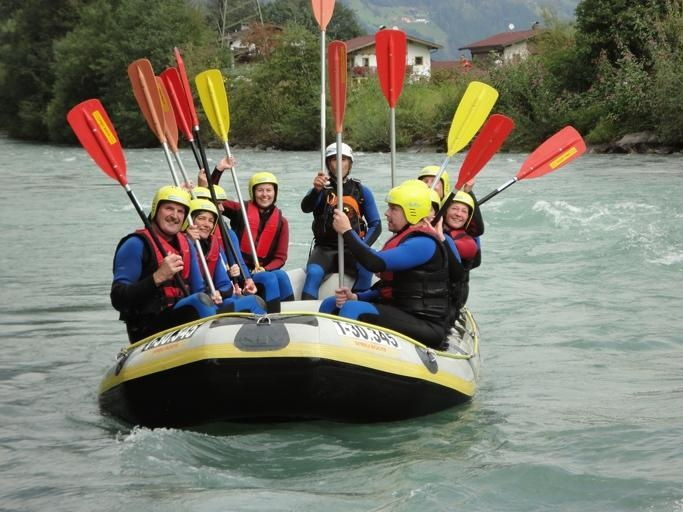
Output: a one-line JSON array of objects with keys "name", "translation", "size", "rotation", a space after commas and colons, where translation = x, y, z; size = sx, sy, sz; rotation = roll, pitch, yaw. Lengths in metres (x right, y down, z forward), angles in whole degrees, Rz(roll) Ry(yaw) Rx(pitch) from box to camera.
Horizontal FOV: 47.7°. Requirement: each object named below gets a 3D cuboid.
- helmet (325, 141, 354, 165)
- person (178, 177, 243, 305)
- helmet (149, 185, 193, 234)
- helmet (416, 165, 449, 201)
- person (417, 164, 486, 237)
[{"name": "helmet", "translation": [-0.028, -1.013, 7.504], "size": [0.242, 0.216, 0.198], "rotation": [2, -7, 1]}, {"name": "person", "translation": [-1.162, -0.067, 6.668], "size": [0.408, 1.022, 0.342], "rotation": [-9, -18, -48]}, {"name": "helmet", "translation": [-1.277, -0.392, 6.245], "size": [0.394, 0.301, 0.419], "rotation": [12, -2, -19]}, {"name": "helmet", "translation": [0.862, -0.765, 7.889], "size": [0.390, 0.296, 0.444], "rotation": [1, -18, 22]}, {"name": "person", "translation": [1.109, -0.562, 7.763], "size": [0.720, 0.733, 0.408], "rotation": [5, 4, 9]}]
